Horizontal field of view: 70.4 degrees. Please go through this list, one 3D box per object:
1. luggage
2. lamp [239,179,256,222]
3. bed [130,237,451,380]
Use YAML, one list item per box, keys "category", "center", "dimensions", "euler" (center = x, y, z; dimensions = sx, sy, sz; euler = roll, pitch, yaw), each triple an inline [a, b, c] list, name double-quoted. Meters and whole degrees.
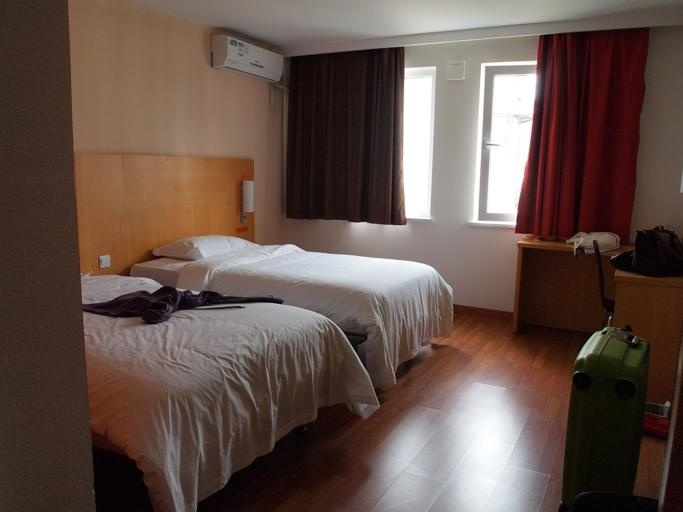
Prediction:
- category: "luggage"
  center: [0.989, 0.649, 1.834]
  dimensions: [0.243, 0.639, 0.457]
  euler: [6, 11, 31]
- category: "lamp"
  center: [-0.940, -0.547, 4.923]
  dimensions: [0.096, 0.418, 0.334]
  euler: [2, 9, 7]
- category: "bed"
  center: [-0.364, 0.180, 3.385]
  dimensions: [1.690, 0.666, 1.173]
  euler: [6, 10, 24]
